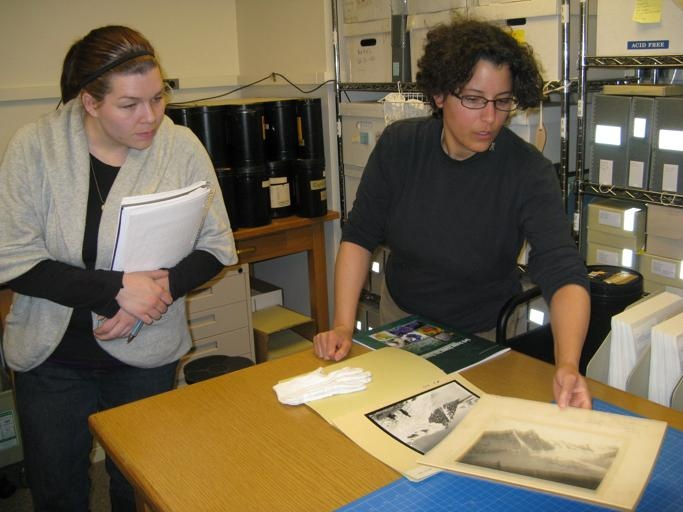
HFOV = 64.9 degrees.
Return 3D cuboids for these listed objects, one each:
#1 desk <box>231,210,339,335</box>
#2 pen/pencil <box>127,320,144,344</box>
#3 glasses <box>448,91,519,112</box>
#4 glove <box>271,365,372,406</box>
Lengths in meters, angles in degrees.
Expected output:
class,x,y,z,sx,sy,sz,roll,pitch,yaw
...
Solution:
class,x,y,z,sx,sy,sz,roll,pitch,yaw
desk,-0.320,0.091,3.102,0.610,0.556,0.435,-15,19,-34
pen/pencil,-0.570,0.207,1.482,0.013,0.080,0.013,27,-10,30
glasses,0.412,-0.421,1.462,0.209,0.053,0.105,-12,18,-28
glove,-0.052,0.305,1.271,0.141,0.020,0.105,-11,9,-15
